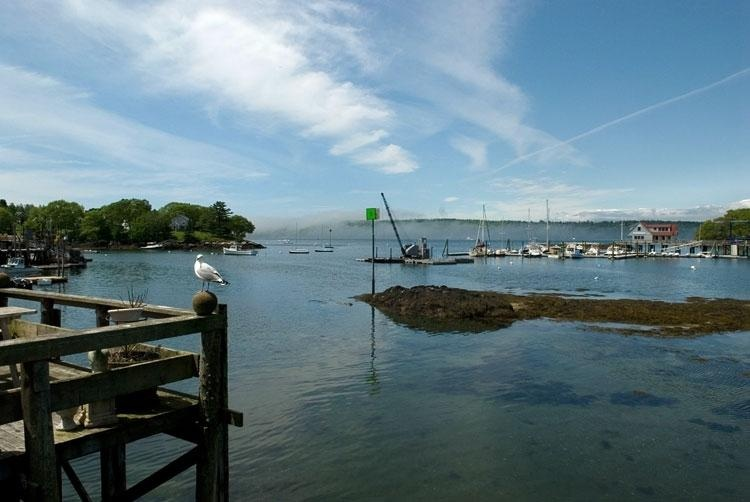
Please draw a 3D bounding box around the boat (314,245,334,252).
[{"bbox_3d":[-18.995,-0.917,188.773,6.367,1.075,4.036,0,5,41],"label":"boat"}]
